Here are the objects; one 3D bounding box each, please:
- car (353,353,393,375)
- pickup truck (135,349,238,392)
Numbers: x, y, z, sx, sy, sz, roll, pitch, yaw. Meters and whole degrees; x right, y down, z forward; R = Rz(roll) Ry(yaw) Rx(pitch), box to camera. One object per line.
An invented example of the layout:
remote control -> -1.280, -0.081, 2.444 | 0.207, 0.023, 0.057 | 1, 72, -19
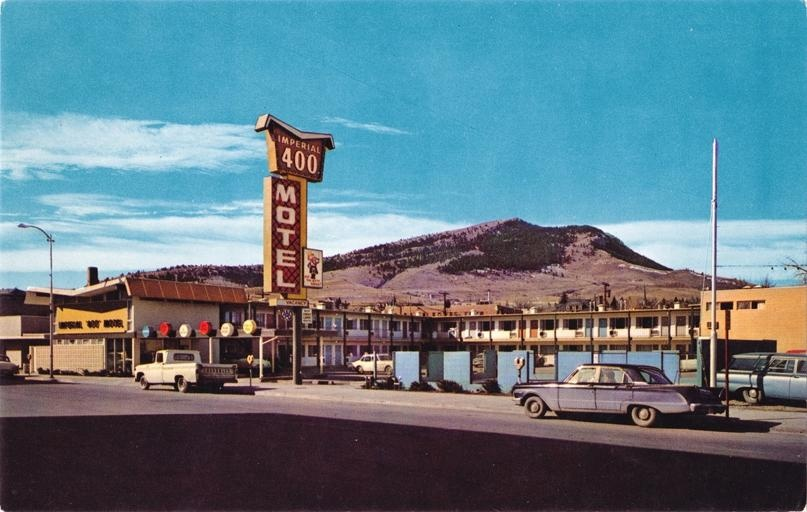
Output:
car -> -2.320, 8.639, 91.535 | 2.290, 1.716, 4.538 | 2, -7, -17
pickup truck -> -13.865, 7.245, 72.423 | 7.054, 2.399, 3.389 | -3, -5, 41
